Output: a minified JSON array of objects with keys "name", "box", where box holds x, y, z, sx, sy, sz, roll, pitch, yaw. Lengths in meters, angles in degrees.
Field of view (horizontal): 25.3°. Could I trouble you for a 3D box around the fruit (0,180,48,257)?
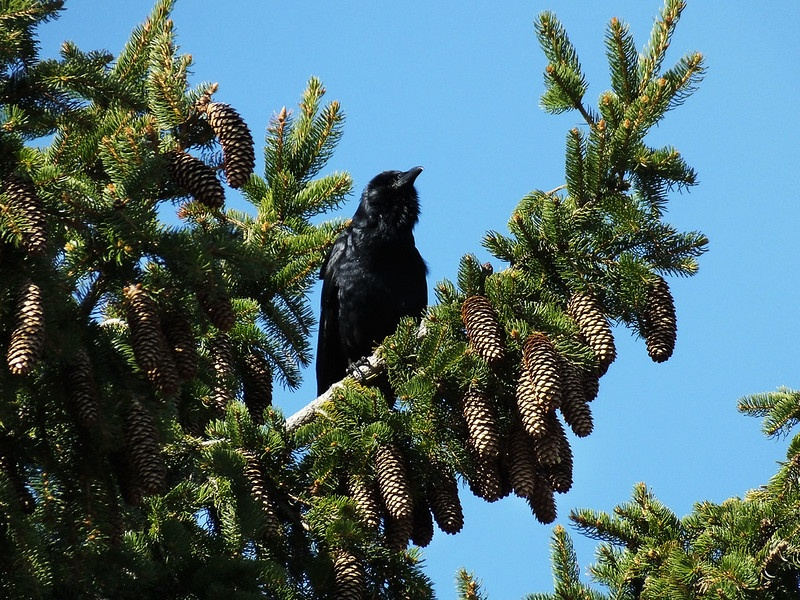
[{"name":"fruit","box":[-1.894,-0.387,8.822,0.136,0.394,0.139,-18,-31,-6]}]
